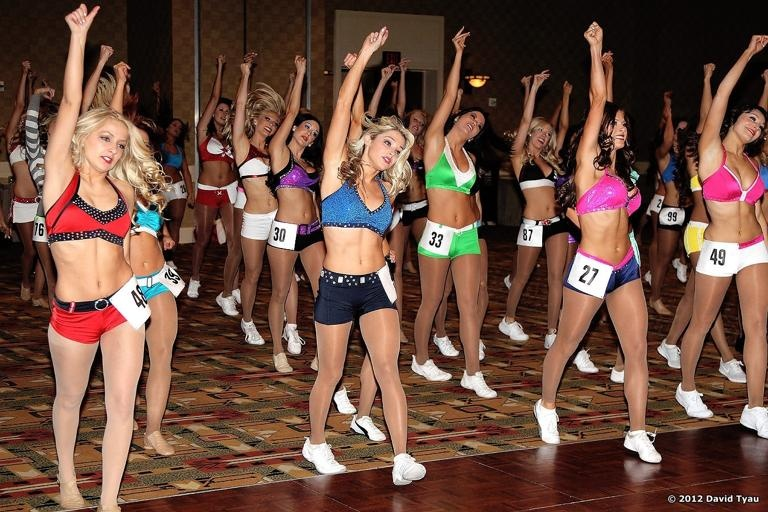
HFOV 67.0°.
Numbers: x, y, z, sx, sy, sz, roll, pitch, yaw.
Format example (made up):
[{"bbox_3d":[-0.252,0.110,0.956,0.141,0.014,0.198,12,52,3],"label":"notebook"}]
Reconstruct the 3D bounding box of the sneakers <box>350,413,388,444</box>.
[{"bbox_3d":[-0.120,1.253,4.173,0.319,0.135,0.123,26,25,26],"label":"sneakers"}]

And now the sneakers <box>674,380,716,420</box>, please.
[{"bbox_3d":[2.496,1.165,4.724,0.157,0.134,0.339,-11,25,-17],"label":"sneakers"}]

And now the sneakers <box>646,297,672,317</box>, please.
[{"bbox_3d":[3.923,0.721,8.285,0.140,0.140,0.376,-7,6,-12],"label":"sneakers"}]

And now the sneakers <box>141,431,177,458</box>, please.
[{"bbox_3d":[-1.525,1.248,3.920,0.270,0.119,0.107,7,9,36],"label":"sneakers"}]

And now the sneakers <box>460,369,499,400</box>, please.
[{"bbox_3d":[0.824,1.113,5.163,0.147,0.165,0.389,-12,18,-38],"label":"sneakers"}]

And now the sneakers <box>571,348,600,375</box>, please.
[{"bbox_3d":[2.025,1.064,5.805,0.135,0.153,0.355,1,-5,-10],"label":"sneakers"}]

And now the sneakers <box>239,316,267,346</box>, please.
[{"bbox_3d":[-1.513,0.835,6.656,0.170,0.156,0.407,-11,29,-34],"label":"sneakers"}]

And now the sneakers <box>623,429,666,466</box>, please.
[{"bbox_3d":[1.740,1.253,3.877,0.138,0.161,0.388,1,2,-7],"label":"sneakers"}]

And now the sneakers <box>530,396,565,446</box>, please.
[{"bbox_3d":[1.173,1.185,4.221,0.116,0.355,0.151,-3,-21,-19],"label":"sneakers"}]

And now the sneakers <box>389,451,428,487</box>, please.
[{"bbox_3d":[0.137,1.255,3.403,0.178,0.225,0.208,0,6,0],"label":"sneakers"}]

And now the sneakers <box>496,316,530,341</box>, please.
[{"bbox_3d":[1.548,0.861,7.092,0.176,0.171,0.435,-13,26,-39],"label":"sneakers"}]

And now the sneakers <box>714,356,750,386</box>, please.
[{"bbox_3d":[3.369,1.093,5.612,0.134,0.123,0.289,-3,3,-10],"label":"sneakers"}]

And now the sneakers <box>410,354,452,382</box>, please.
[{"bbox_3d":[0.430,1.064,5.592,0.421,0.172,0.171,10,11,26],"label":"sneakers"}]

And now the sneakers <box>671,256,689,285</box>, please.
[{"bbox_3d":[5.207,0.261,10.216,0.190,0.237,0.528,-5,49,2],"label":"sneakers"}]

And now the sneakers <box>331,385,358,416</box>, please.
[{"bbox_3d":[-0.320,1.160,4.704,0.126,0.124,0.313,-11,38,-38],"label":"sneakers"}]

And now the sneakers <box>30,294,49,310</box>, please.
[{"bbox_3d":[-4.820,0.633,8.141,0.093,0.168,0.302,-20,29,-41],"label":"sneakers"}]

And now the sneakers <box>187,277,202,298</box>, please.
[{"bbox_3d":[-2.909,0.460,8.835,0.147,0.146,0.368,2,19,-12],"label":"sneakers"}]

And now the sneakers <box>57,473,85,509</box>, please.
[{"bbox_3d":[-1.699,1.293,3.164,0.095,0.099,0.253,-1,11,-32],"label":"sneakers"}]
